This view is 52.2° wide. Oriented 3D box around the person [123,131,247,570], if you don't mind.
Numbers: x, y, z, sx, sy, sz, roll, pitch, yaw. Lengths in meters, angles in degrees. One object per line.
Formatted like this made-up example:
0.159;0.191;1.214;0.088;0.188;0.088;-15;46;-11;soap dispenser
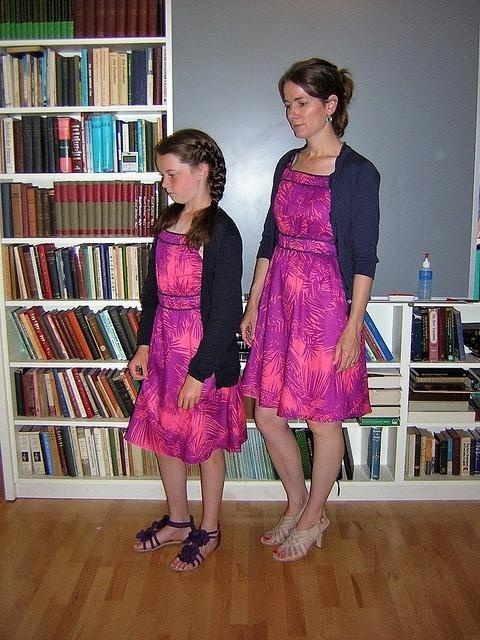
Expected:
-0.158;0.122;1.586;0.372;1.390;0.440;-1;2;-28;person

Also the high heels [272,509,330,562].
0.206;0.762;1.725;0.206;0.112;0.110;-10;5;-27;high heels

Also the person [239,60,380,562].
0.229;0.042;1.567;0.371;1.564;0.482;-1;2;-18;person

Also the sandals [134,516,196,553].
-0.268;0.749;1.750;0.215;0.089;0.097;0;0;-23;sandals

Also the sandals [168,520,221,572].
-0.148;0.768;1.680;0.072;0.083;0.198;1;-4;29;sandals
